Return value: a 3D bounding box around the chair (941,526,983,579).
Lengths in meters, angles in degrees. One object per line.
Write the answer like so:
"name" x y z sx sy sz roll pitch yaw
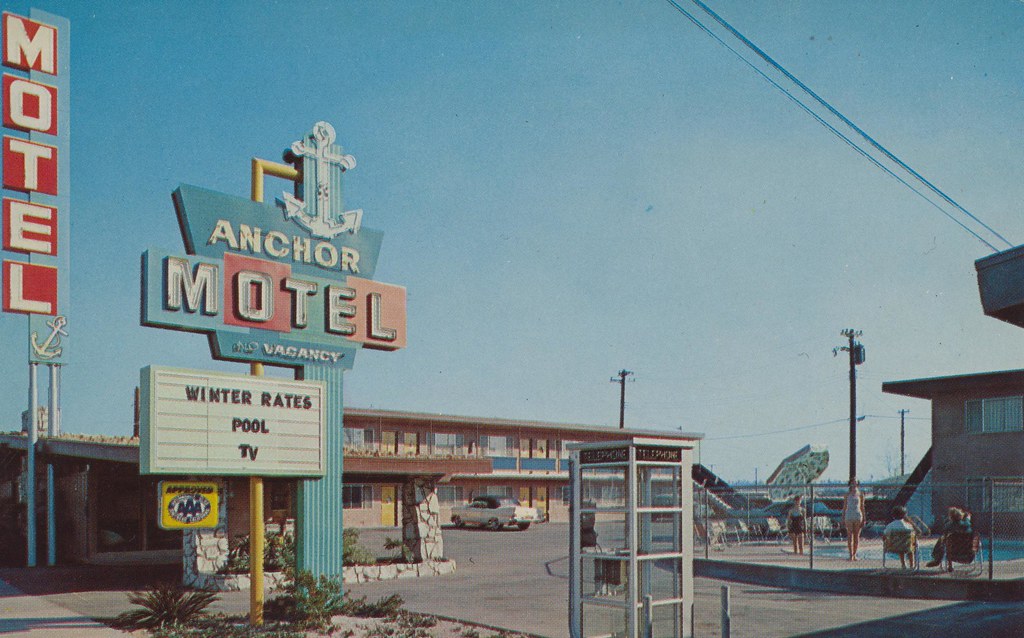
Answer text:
"chair" 16.054 8.346 44.164 1.219 1.729 1.596 -2 -6 24

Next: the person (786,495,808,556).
"person" 11.406 8.141 49.352 0.666 2.288 1.378 -5 -13 12

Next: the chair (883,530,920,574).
"chair" 14.113 8.345 44.735 1.111 1.306 1.129 -7 -14 19
